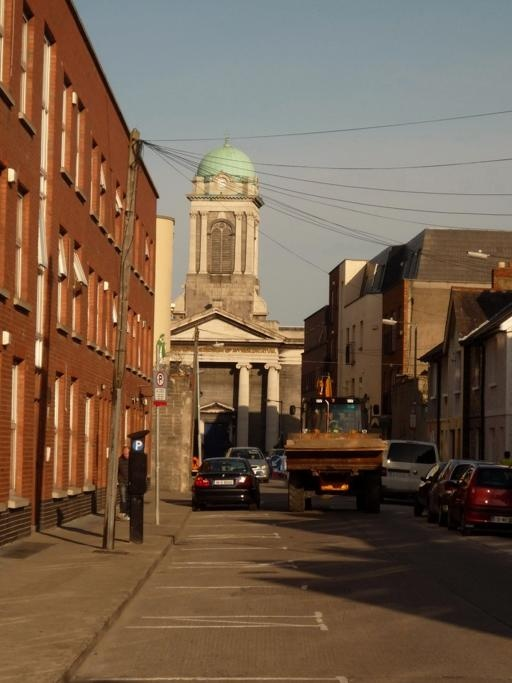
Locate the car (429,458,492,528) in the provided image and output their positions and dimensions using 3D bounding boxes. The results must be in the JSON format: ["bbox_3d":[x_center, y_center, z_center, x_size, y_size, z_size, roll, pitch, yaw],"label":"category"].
[{"bbox_3d":[4.642,3.528,20.204,0.767,0.982,1.772,0,0,2],"label":"car"}]

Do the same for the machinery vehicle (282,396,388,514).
[{"bbox_3d":[2.123,3.150,23.913,1.896,2.920,3.950,0,-10,1],"label":"machinery vehicle"}]

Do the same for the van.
[{"bbox_3d":[4.957,4.280,28.260,1.303,1.509,2.392,1,-4,3],"label":"van"}]

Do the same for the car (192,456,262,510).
[{"bbox_3d":[-0.938,4.263,25.367,1.902,1.564,2.468,1,-7,-5],"label":"car"}]
